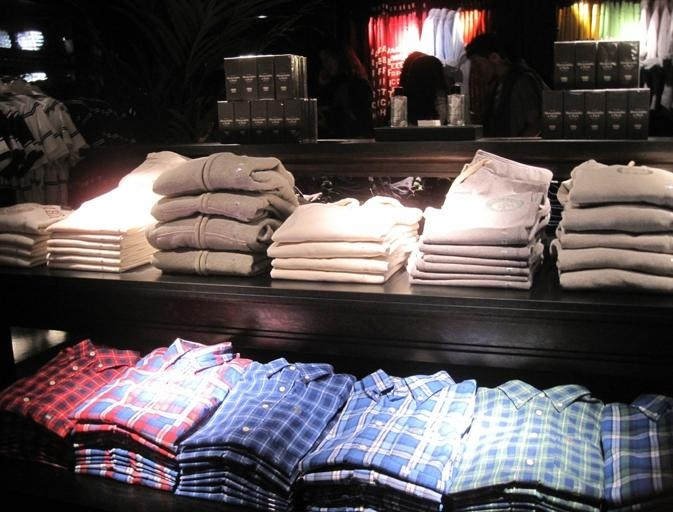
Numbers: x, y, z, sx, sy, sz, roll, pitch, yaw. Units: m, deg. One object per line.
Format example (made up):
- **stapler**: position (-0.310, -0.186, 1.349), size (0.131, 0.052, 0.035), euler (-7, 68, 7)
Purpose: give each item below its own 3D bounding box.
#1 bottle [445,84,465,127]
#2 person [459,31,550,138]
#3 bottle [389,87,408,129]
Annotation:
- **bottle**: position (0.546, -0.693, 2.483), size (0.079, 0.182, 0.072), euler (-2, 9, 0)
- **person**: position (1.022, -1.051, 3.264), size (0.339, 0.615, 0.848), euler (-3, 15, -4)
- **bottle**: position (0.297, -0.719, 2.575), size (0.068, 0.179, 0.160), euler (-1, 15, 2)
